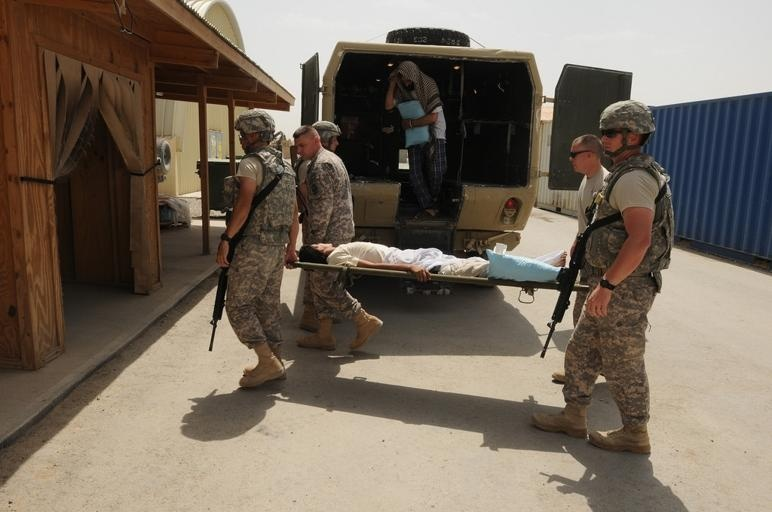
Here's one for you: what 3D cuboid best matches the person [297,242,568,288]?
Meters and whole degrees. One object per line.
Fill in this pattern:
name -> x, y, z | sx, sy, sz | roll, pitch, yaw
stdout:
person -> 0.412, 0.093, 6.186 | 1.610, 0.275, 0.514 | 5, 3, 6

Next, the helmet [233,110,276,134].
helmet -> -1.166, -1.190, 5.482 | 0.332, 0.215, 0.219 | -1, 14, -14

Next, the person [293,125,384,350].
person -> -0.648, -0.178, 6.740 | 0.987, 2.373, 1.134 | 0, 4, -29

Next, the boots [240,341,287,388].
boots -> -1.047, 0.991, 5.702 | 0.530, 0.496, 0.276 | -1, 6, -5

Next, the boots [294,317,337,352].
boots -> -0.776, 0.824, 6.524 | 0.505, 0.362, 0.180 | 8, -10, -39

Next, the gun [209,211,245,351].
gun -> -1.576, 0.317, 6.132 | 0.145, 1.784, 0.414 | 8, 15, -25

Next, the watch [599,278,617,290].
watch -> 1.661, 0.218, 4.634 | 0.117, 0.078, 0.108 | 24, -12, 38

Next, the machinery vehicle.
machinery vehicle -> 0.799, -1.795, 9.452 | 2.939, 2.199, 3.898 | 2, 15, 3

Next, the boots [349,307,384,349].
boots -> -0.216, 0.749, 6.550 | 0.295, 0.478, 0.400 | 2, 14, -3

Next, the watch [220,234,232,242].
watch -> -1.386, -0.160, 5.362 | 0.072, 0.034, 0.076 | 23, -4, 33

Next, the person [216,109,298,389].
person -> -1.169, -0.060, 5.637 | 0.658, 2.481, 0.692 | 1, 14, -8

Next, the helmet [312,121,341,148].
helmet -> -0.627, -1.360, 6.901 | 0.316, 0.285, 0.264 | -11, 30, -18

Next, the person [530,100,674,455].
person -> 2.359, 0.320, 6.795 | 1.038, 3.535, 0.998 | -14, 23, 7
